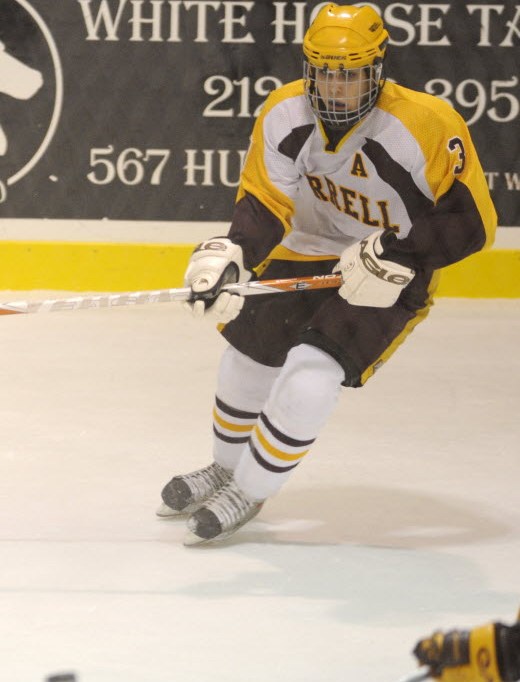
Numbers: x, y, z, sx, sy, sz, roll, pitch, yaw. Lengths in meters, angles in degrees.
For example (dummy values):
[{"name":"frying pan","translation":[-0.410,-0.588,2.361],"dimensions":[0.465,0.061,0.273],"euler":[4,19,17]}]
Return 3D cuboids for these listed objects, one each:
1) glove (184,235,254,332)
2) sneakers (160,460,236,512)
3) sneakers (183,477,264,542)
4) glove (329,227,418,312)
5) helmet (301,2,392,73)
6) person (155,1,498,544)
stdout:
[{"name":"glove","translation":[-0.086,-0.126,1.940],"dimensions":[0.094,0.123,0.194],"euler":[31,33,-29]},{"name":"sneakers","translation":[-0.162,0.377,2.305],"dimensions":[0.214,0.068,0.071],"euler":[-24,70,-19]},{"name":"sneakers","translation":[-0.091,0.404,2.152],"dimensions":[0.074,0.078,0.218],"euler":[37,27,18]},{"name":"glove","translation":[0.260,-0.151,1.941],"dimensions":[0.186,0.133,0.146],"euler":[38,26,2]},{"name":"helmet","translation":[0.180,-0.647,1.916],"dimensions":[0.179,0.154,0.173],"euler":[4,31,12]},{"name":"person","translation":[0.157,-0.123,2.073],"dimensions":[0.651,1.249,0.460],"euler":[10,7,-4]}]
